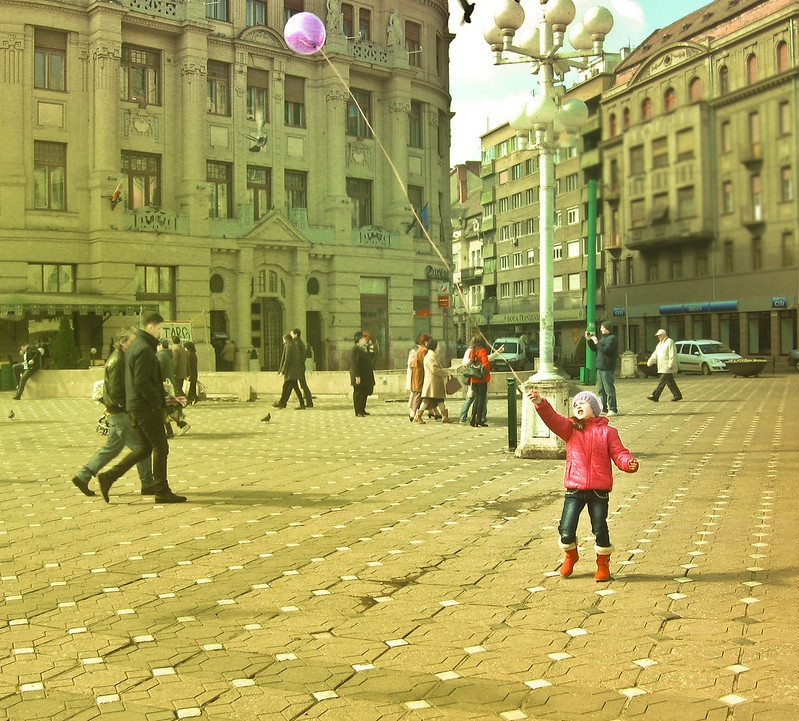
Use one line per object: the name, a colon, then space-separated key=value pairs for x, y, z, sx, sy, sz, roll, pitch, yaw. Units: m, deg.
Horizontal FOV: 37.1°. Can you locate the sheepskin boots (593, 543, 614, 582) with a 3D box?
sheepskin boots: x=1.640 y=1.609 z=9.578 sx=0.140 sy=0.263 sz=0.284 roll=-1 pitch=3 yaw=8

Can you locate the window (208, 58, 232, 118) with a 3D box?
window: x=-6.090 y=-9.210 z=40.250 sx=0.882 sy=1.776 sz=0.293 roll=-4 pitch=4 yaw=-38

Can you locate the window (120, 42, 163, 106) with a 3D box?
window: x=-8.273 y=-9.193 z=37.981 sx=0.123 sy=1.579 sz=1.850 roll=-1 pitch=20 yaw=36

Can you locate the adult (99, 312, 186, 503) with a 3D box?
adult: x=-2.822 y=0.542 z=12.870 sx=1.017 sy=2.070 sz=0.697 roll=-3 pitch=0 yaw=-18

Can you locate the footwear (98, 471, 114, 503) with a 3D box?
footwear: x=-3.130 y=1.310 z=12.705 sx=0.169 sy=0.400 sz=0.133 roll=-7 pitch=10 yaw=-5

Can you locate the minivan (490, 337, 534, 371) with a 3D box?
minivan: x=4.709 y=-0.340 z=50.923 sx=1.745 sy=1.571 sz=3.112 roll=-2 pitch=-4 yaw=17

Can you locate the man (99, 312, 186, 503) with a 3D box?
man: x=-2.798 y=0.537 z=12.881 sx=0.977 sy=2.068 sz=0.685 roll=-2 pitch=1 yaw=-9

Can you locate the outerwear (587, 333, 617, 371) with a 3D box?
outerwear: x=4.001 y=-0.167 z=22.980 sx=0.427 sy=0.733 sz=0.436 roll=-4 pitch=4 yaw=-37

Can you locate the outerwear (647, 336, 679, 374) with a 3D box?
outerwear: x=5.607 y=-0.114 z=25.000 sx=0.399 sy=0.796 sz=0.525 roll=-1 pitch=3 yaw=9

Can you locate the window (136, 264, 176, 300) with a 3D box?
window: x=-7.691 y=-2.479 z=37.655 sx=0.303 sy=1.094 sz=1.522 roll=1 pitch=4 yaw=33

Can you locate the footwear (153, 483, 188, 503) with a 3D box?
footwear: x=-2.437 y=1.427 z=12.853 sx=0.421 sy=0.262 sz=0.152 roll=1 pitch=0 yaw=-11

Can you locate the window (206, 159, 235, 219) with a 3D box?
window: x=-6.060 y=-5.813 z=40.427 sx=0.308 sy=1.893 sz=0.972 roll=2 pitch=5 yaw=43

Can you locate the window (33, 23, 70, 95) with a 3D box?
window: x=-10.593 y=-9.103 z=36.170 sx=1.010 sy=1.804 sz=0.277 roll=-4 pitch=4 yaw=-38

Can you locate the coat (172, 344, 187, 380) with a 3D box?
coat: x=-4.523 y=0.020 z=24.468 sx=0.237 sy=0.592 sz=0.731 roll=-3 pitch=-5 yaw=13

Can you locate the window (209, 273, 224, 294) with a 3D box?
window: x=-6.087 y=-2.599 z=39.783 sx=0.115 sy=0.570 sz=0.572 roll=0 pitch=14 yaw=33

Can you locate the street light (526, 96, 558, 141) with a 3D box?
street light: x=1.882 y=-3.208 z=15.774 sx=0.383 sy=0.562 sz=0.441 roll=-1 pitch=3 yaw=7

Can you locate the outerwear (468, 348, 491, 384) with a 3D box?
outerwear: x=1.388 y=0.077 z=20.807 sx=0.602 sy=0.735 sz=0.307 roll=0 pitch=5 yaw=-4

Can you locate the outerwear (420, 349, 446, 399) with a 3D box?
outerwear: x=0.642 y=0.260 z=22.010 sx=0.484 sy=0.926 sz=0.429 roll=-1 pitch=3 yaw=6

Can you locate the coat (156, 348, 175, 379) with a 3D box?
coat: x=-3.341 y=0.032 z=16.978 sx=0.277 sy=0.479 sz=0.428 roll=-8 pitch=-10 yaw=-8

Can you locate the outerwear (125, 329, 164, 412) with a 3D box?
outerwear: x=-2.729 y=0.108 z=12.744 sx=0.399 sy=0.875 sz=0.372 roll=-2 pitch=3 yaw=-13

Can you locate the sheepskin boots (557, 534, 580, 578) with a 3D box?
sheepskin boots: x=1.389 y=1.574 z=9.770 sx=0.151 sy=0.305 sz=0.387 roll=-1 pitch=3 yaw=7

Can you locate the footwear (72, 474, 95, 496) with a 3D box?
footwear: x=-3.509 y=1.360 z=13.229 sx=0.228 sy=0.237 sz=0.399 roll=-2 pitch=4 yaw=-17

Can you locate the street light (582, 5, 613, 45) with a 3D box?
street light: x=2.609 y=-4.387 z=15.591 sx=0.336 sy=0.448 sz=0.557 roll=-2 pitch=3 yaw=-3

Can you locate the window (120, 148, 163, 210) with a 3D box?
window: x=-8.289 y=-5.809 z=37.998 sx=0.163 sy=2.546 sz=2.215 roll=2 pitch=2 yaw=39
